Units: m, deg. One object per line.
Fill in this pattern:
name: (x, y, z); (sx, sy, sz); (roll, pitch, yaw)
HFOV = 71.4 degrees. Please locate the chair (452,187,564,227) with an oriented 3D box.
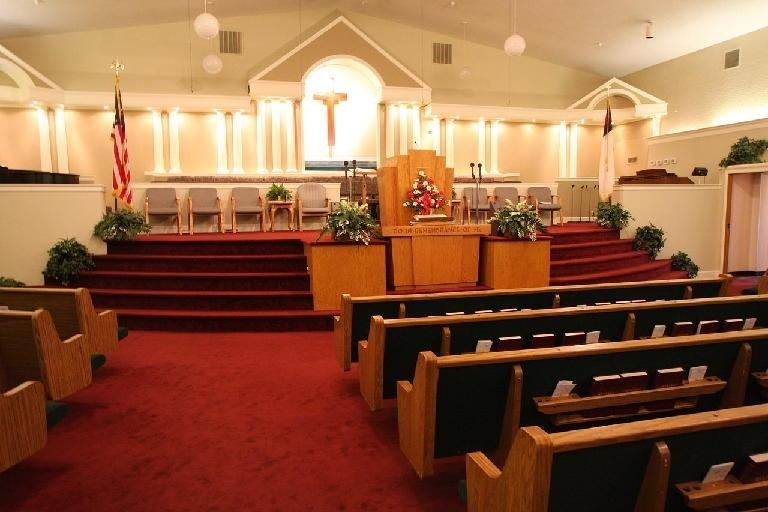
chair: (2.708, -1.105, 11.829); (2.249, 0.890, 1.350); (0, 9, 2)

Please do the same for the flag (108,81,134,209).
flag: (-4.462, -1.878, 8.982); (0.284, 2.141, 0.909); (-5, 10, -26)

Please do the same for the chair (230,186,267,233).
chair: (-2.793, -0.935, 10.945); (0.850, 1.217, 0.831); (-2, 4, -23)

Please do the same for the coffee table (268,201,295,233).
coffee table: (-2.104, -0.828, 10.905); (0.524, 0.605, 0.534); (-3, 9, -13)

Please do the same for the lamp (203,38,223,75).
lamp: (-3.510, -3.965, 11.027); (0.295, 0.379, 0.664); (-3, 9, -11)

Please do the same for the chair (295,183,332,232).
chair: (-1.434, -1.014, 10.834); (0.681, 0.924, 0.662); (-2, 9, -9)

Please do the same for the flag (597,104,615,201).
flag: (4.461, -2.040, 10.664); (0.265, 1.943, 0.824); (3, 10, 23)

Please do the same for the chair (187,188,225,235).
chair: (-3.574, -0.924, 10.710); (0.668, 0.863, 0.667); (-4, 9, -21)

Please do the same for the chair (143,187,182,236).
chair: (-4.333, -0.901, 10.578); (0.810, 1.130, 0.896); (-2, 7, -27)

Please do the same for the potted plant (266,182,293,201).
potted plant: (-2.099, -1.290, 10.806); (0.384, 0.277, 0.380); (-7, 12, -34)
